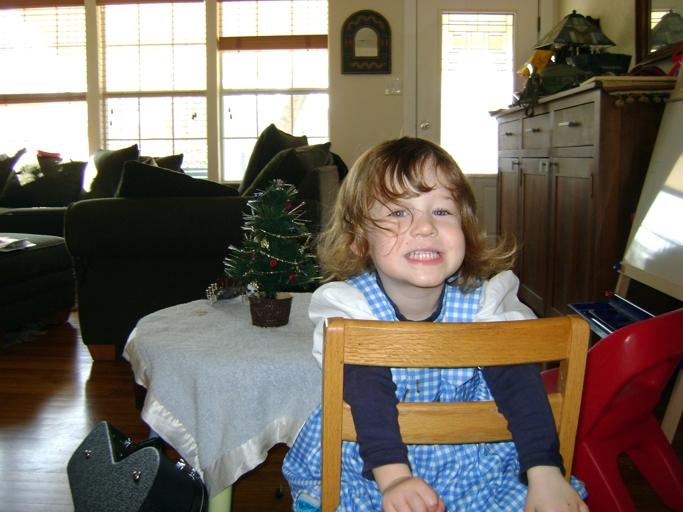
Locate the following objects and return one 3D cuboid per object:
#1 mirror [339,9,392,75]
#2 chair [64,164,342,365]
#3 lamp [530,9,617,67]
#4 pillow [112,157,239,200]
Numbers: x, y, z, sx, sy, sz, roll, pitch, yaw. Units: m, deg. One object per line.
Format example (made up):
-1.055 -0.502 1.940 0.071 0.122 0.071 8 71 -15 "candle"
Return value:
0.203 -1.754 4.483 0.524 0.595 0.041 0 5 1 "mirror"
-0.879 -0.004 2.905 0.875 0.659 0.854 -2 11 -4 "chair"
1.239 -1.146 3.046 0.345 0.370 0.354 -2 20 2 "lamp"
-0.767 -0.362 2.601 0.543 0.166 0.062 -3 14 -14 "pillow"
